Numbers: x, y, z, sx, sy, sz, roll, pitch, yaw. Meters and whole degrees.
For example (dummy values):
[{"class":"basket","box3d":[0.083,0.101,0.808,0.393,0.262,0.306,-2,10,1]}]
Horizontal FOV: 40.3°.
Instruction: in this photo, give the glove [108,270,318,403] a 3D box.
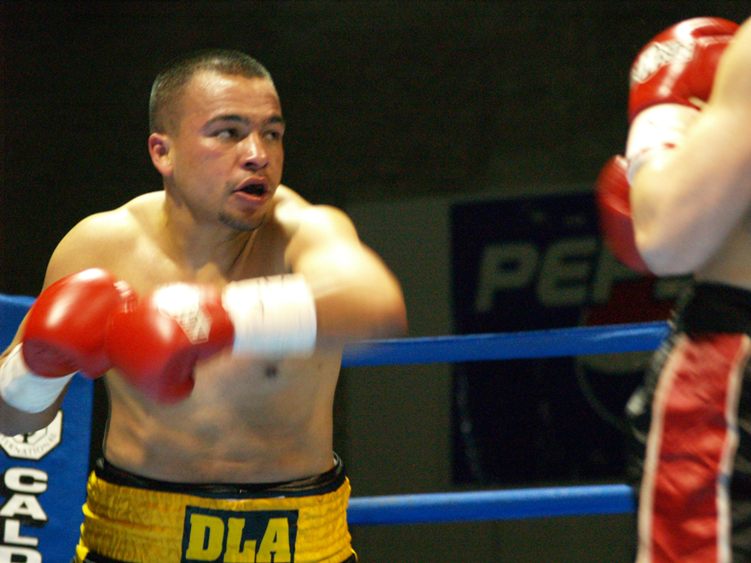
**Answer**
[{"class":"glove","box3d":[-0.453,0.183,2.876,0.463,0.243,0.362,-22,48,3]}]
